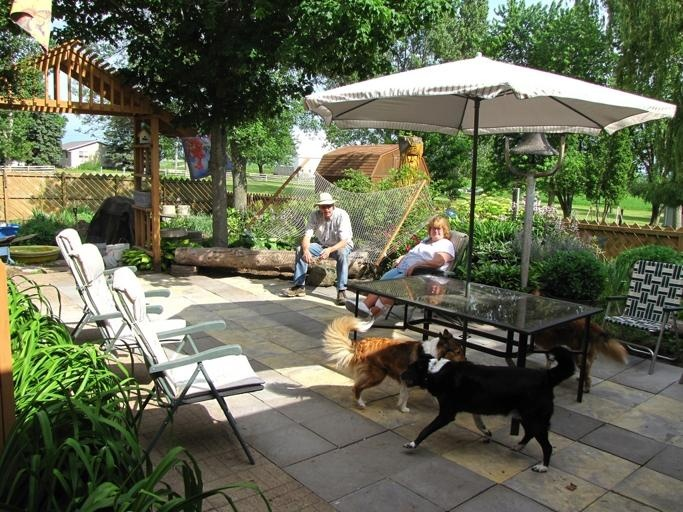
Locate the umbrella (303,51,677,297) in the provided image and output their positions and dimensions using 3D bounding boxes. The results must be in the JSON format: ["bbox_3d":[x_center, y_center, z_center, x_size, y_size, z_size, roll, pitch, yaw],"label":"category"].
[{"bbox_3d":[1.370,-0.810,5.319,3.429,2.492,2.914,3,12,2],"label":"umbrella"}]

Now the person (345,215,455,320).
[{"bbox_3d":[0.742,0.049,6.208,1.740,0.960,0.912,-10,11,-20],"label":"person"}]

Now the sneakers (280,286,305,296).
[{"bbox_3d":[-0.695,0.514,7.221,0.324,0.113,0.134,3,3,-17],"label":"sneakers"}]

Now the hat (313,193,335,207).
[{"bbox_3d":[-0.210,-0.829,7.312,0.477,0.183,0.488,-2,4,-1],"label":"hat"}]

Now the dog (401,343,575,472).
[{"bbox_3d":[1.018,0.977,3.314,1.255,0.659,0.394,-8,-13,44],"label":"dog"}]

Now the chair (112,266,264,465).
[{"bbox_3d":[-1.021,0.697,3.320,0.838,1.146,1.098,-4,14,-26],"label":"chair"}]

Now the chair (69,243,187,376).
[{"bbox_3d":[-1.874,0.471,4.480,1.134,0.918,0.875,7,7,-25],"label":"chair"}]
